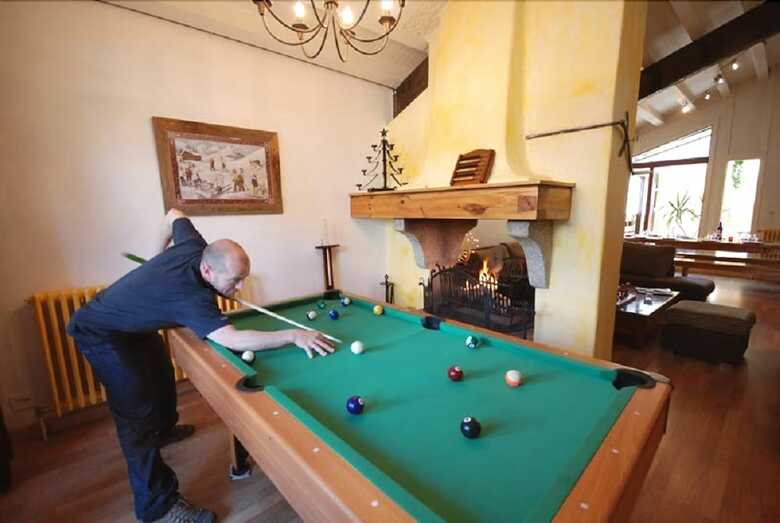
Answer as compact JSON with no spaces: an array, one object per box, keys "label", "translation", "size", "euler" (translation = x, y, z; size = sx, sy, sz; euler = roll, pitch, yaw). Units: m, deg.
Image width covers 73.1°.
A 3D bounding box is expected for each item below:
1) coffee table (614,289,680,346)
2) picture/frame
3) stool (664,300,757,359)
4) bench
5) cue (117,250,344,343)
[{"label":"coffee table","translation":[2.834,0.634,5.815],"size":[0.493,0.627,0.343],"euler":[9,-22,3]},{"label":"picture/frame","translation":[-1.730,-0.951,5.382],"size":[1.246,0.957,0.102],"euler":[-4,8,-33]},{"label":"stool","translation":[3.286,0.740,5.472],"size":[0.806,0.593,0.284],"euler":[3,7,34]},{"label":"bench","translation":[1.018,0.414,5.636],"size":[0.708,0.632,1.496],"euler":[-8,10,-39]},{"label":"cue","translation":[-1.377,0.301,4.377],"size":[2.126,0.094,0.064],"euler":[26,7,-4]}]
